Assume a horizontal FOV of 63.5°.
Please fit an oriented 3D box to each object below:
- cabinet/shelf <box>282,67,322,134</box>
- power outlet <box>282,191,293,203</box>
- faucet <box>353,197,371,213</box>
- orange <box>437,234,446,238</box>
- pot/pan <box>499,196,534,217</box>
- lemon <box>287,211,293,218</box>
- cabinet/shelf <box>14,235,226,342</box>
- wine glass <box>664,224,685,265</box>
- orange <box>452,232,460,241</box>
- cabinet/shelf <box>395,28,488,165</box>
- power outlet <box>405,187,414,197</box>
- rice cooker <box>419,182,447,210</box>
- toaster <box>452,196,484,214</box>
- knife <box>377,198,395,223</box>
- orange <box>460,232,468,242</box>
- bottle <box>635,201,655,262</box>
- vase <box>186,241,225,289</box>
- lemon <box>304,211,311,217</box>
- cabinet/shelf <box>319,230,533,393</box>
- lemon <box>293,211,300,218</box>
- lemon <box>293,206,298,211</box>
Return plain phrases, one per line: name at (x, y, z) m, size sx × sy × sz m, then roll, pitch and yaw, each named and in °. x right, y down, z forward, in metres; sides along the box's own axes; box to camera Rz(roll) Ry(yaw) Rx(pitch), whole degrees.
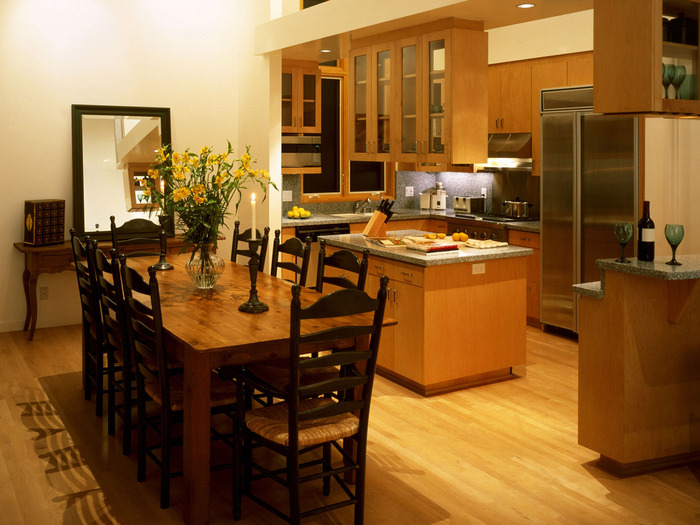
cabinet/shelf at (-0.711, -2.047, 7.174) m, size 0.673 × 0.803 × 0.297 m, roll -10°, pitch 19°, yaw -34°
power outlet at (-0.816, -0.887, 7.496) m, size 0.153 × 0.155 × 0.015 m, roll -2°, pitch 3°, yaw -39°
faucet at (0.185, -0.791, 7.919) m, size 0.265 × 0.199 × 0.267 m, roll 0°, pitch 28°, yaw 6°
orange at (0.887, -0.260, 5.442) m, size 0.079 × 0.053 × 0.082 m, roll -1°, pitch 8°, yaw -7°
pot/pan at (2.113, -0.701, 7.147) m, size 0.291 × 0.220 × 0.219 m, roll 1°, pitch 3°, yaw 26°
lemon at (-0.750, -0.622, 7.241) m, size 0.074 × 0.055 × 0.074 m, roll 12°, pitch 16°, yaw 43°
cabinet/shelf at (-2.689, 0.235, 6.307) m, size 1.712 × 0.887 × 0.549 m, roll -3°, pitch 0°, yaw -30°
wine glass at (2.006, -0.131, 3.505) m, size 0.096 × 0.230 × 0.366 m, roll 6°, pitch 12°, yaw 29°
orange at (0.990, -0.245, 5.253) m, size 0.060 × 0.063 × 0.057 m, roll 7°, pitch 13°, yaw 41°
cabinet/shelf at (0.900, -1.607, 5.642) m, size 0.452 × 1.323 × 1.280 m, roll -8°, pitch 17°, yaw -18°
power outlet at (0.884, -1.055, 8.337) m, size 0.138 × 0.147 × 0.019 m, roll -1°, pitch 5°, yaw -25°
rice cooker at (1.182, -0.969, 8.178) m, size 0.380 × 0.392 × 0.366 m, roll -1°, pitch 3°, yaw -1°
toaster at (1.632, -0.785, 7.642) m, size 0.416 × 0.218 × 0.381 m, roll 3°, pitch 11°, yaw 12°
knife at (0.357, -0.521, 5.637) m, size 0.149 × 0.239 × 0.471 m, roll 1°, pitch 11°, yaw 3°
orange at (1.057, -0.238, 5.239) m, size 0.071 × 0.074 × 0.088 m, roll 1°, pitch 5°, yaw 2°
bottle at (1.808, -0.193, 3.432) m, size 0.098 × 0.361 × 0.103 m, roll 0°, pitch 10°, yaw 0°
vase at (-1.004, -0.006, 3.981) m, size 0.284 × 0.385 × 0.285 m, roll -5°, pitch 11°, yaw -37°
lemon at (-0.535, -0.626, 7.280) m, size 0.084 × 0.049 × 0.085 m, roll -2°, pitch 0°, yaw -27°
cabinet/shelf at (0.730, 0.381, 5.527) m, size 1.037 × 1.162 × 1.807 m, roll -4°, pitch 8°, yaw -22°
lemon at (-0.664, -0.621, 7.198) m, size 0.052 × 0.064 × 0.054 m, roll 9°, pitch -19°, yaw -7°
lemon at (-0.696, -0.719, 7.434) m, size 0.052 × 0.056 × 0.062 m, roll 4°, pitch -1°, yaw 24°
